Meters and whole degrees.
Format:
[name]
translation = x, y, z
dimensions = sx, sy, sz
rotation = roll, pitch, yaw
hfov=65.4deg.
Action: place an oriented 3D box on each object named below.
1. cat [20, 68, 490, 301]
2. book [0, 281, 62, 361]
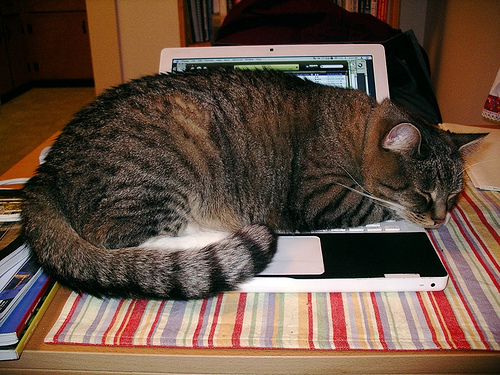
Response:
[cat]
translation = -0.007, 0.040, 1.152
dimensions = 1.002, 0.309, 0.648
rotation = 3, 37, 1
[book]
translation = -0.432, 0.259, 0.780
dimensions = 0.072, 0.015, 0.104
rotation = 16, 55, 0
